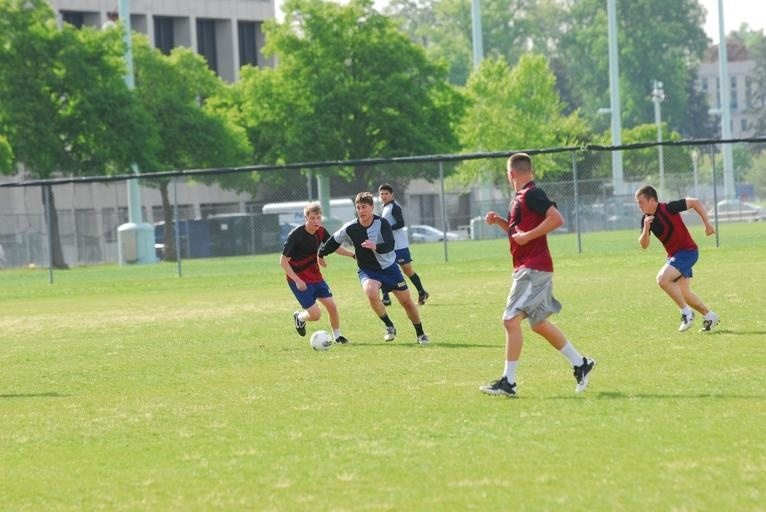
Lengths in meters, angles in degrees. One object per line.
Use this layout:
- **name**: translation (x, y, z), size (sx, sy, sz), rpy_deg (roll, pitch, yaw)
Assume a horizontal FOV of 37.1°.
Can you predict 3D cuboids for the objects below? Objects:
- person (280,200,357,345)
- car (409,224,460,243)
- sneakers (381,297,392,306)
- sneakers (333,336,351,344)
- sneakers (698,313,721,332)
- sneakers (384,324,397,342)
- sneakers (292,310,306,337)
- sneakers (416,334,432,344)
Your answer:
- **person**: translation (-1.592, 0.378, 24.791), size (1.259, 2.080, 0.904), rpy_deg (-4, 2, -12)
- **car**: translation (2.577, -1.103, 58.105), size (2.359, 0.728, 1.076), rpy_deg (-1, 1, 18)
- **sneakers**: translation (0.086, 1.123, 28.166), size (0.302, 0.124, 0.106), rpy_deg (13, 3, -10)
- **sneakers**: translation (-0.901, 1.821, 24.819), size (0.298, 0.120, 0.147), rpy_deg (0, 3, 20)
- **sneakers**: translation (6.970, 1.362, 24.319), size (0.282, 0.611, 0.207), rpy_deg (12, 36, -17)
- **sneakers**: translation (0.152, 1.669, 25.025), size (0.262, 0.205, 0.510), rpy_deg (-4, 2, 1)
- **sneakers**: translation (-1.835, 1.470, 25.091), size (0.259, 0.559, 0.199), rpy_deg (-8, 13, 23)
- **sneakers**: translation (0.876, 1.790, 24.554), size (0.278, 0.111, 0.144), rpy_deg (-2, 0, 44)
